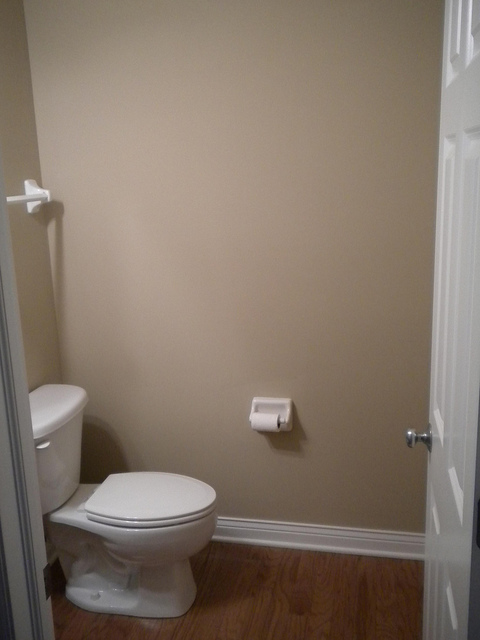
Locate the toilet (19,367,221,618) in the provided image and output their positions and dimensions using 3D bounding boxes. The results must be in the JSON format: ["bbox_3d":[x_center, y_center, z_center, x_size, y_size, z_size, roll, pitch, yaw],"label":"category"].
[{"bbox_3d":[-0.466,0.642,1.878,0.609,0.913,0.489,-1,18,-2],"label":"toilet"}]
